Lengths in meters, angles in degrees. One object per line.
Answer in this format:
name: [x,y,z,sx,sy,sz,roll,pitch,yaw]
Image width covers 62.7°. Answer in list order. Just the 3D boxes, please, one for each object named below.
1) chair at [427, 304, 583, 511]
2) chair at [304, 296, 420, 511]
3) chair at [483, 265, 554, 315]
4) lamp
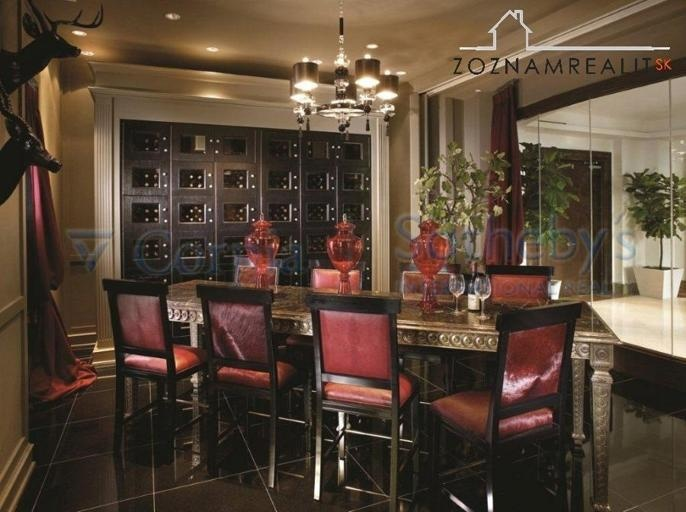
chair: [1.123,0.966,3.683,1.015,1.381,0.517,-2,6,-14]
chair: [0.137,0.940,3.870,0.721,1.426,0.632,0,6,7]
chair: [1.485,0.334,4.790,0.566,0.428,0.333,-1,-30,19]
lamp: [0.061,-1.757,5.498,0.900,1.274,1.976,0,6,5]
